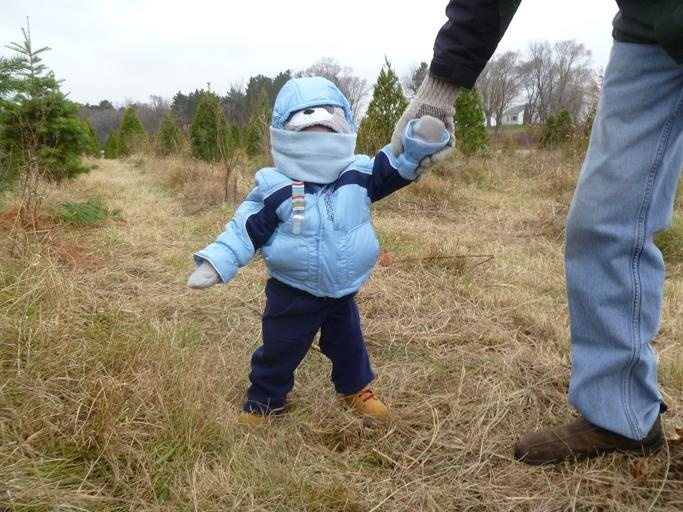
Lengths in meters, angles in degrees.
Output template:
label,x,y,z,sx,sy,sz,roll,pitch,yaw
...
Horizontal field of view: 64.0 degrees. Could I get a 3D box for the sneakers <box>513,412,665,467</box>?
label,x,y,z,sx,sy,sz,roll,pitch,yaw
sneakers,1.035,0.776,2.435,0.641,0.297,0.234,0,6,13

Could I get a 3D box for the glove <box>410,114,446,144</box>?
label,x,y,z,sx,sy,sz,roll,pitch,yaw
glove,0.366,-0.539,2.310,0.075,0.097,0.056,28,15,-7

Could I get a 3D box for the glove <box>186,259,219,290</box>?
label,x,y,z,sx,sy,sz,roll,pitch,yaw
glove,-0.596,0.092,2.345,0.125,0.137,0.099,9,14,29

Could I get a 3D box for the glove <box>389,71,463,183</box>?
label,x,y,z,sx,sy,sz,roll,pitch,yaw
glove,0.346,-0.573,2.438,0.257,0.424,0.130,36,38,-5

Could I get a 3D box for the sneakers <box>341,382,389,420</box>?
label,x,y,z,sx,sy,sz,roll,pitch,yaw
sneakers,0.125,0.702,2.665,0.106,0.085,0.206,-10,8,-30
